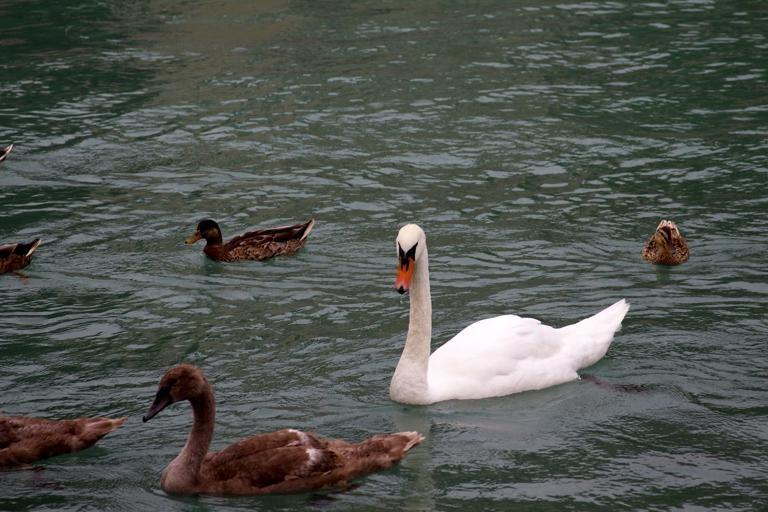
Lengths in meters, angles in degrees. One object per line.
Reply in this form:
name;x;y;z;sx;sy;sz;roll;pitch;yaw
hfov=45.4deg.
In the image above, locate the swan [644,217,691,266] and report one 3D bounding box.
swan;5.565;-0.299;17.972;1.174;0.588;1.132;0;22;12
